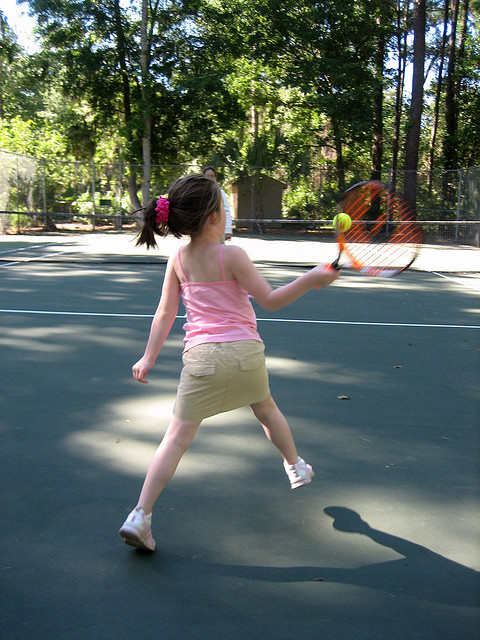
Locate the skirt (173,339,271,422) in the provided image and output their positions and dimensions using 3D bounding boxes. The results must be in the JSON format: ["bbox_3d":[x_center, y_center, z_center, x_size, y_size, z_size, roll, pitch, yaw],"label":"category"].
[{"bbox_3d":[-0.080,0.183,2.014,0.416,0.242,0.204,-3,13,-32],"label":"skirt"}]

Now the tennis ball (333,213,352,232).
[{"bbox_3d":[0.489,-0.462,2.692,0.087,0.088,0.070,-7,14,-40],"label":"tennis ball"}]

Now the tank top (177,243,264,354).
[{"bbox_3d":[-0.108,-0.085,2.049,0.300,0.356,0.244,-10,-6,-33],"label":"tank top"}]

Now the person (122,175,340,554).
[{"bbox_3d":[-0.044,0.143,1.988,0.680,1.248,0.442,1,11,-6],"label":"person"}]
